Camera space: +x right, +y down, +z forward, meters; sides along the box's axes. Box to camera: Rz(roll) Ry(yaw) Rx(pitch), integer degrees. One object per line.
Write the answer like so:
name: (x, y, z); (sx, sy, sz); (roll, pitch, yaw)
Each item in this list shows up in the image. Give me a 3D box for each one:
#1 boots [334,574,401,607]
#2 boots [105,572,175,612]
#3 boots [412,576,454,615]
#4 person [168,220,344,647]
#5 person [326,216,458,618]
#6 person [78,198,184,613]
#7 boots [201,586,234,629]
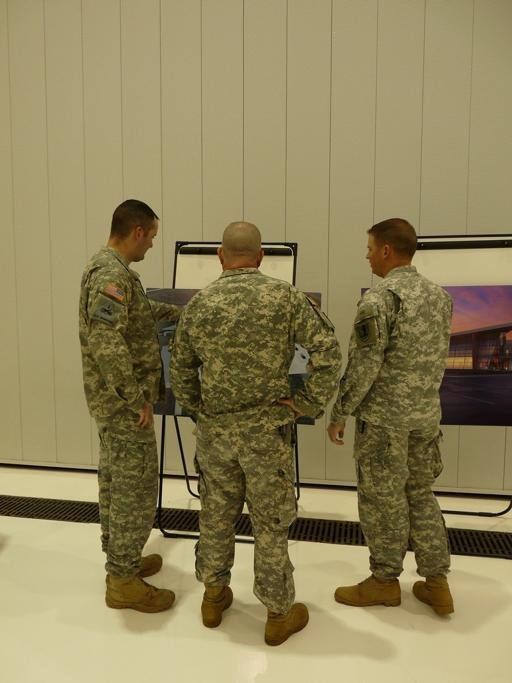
boots: (0.524, 1.127, 3.080); (0.296, 0.183, 0.123); (3, -2, 11)
boots: (-0.522, 1.117, 3.033); (0.350, 0.196, 0.129); (-1, 7, -7)
boots: (0.780, 1.107, 2.989); (0.097, 0.150, 0.235); (-12, 17, -16)
person: (-0.032, 0.378, 2.714); (0.688, 1.706, 0.304); (4, 12, 24)
person: (0.594, 0.326, 2.945); (0.532, 1.714, 0.419); (1, 11, 8)
person: (-0.600, 0.276, 3.000); (0.372, 1.813, 0.515); (-3, 11, -9)
boots: (-0.177, 1.107, 2.909); (0.109, 0.203, 0.227); (5, 11, 7)
